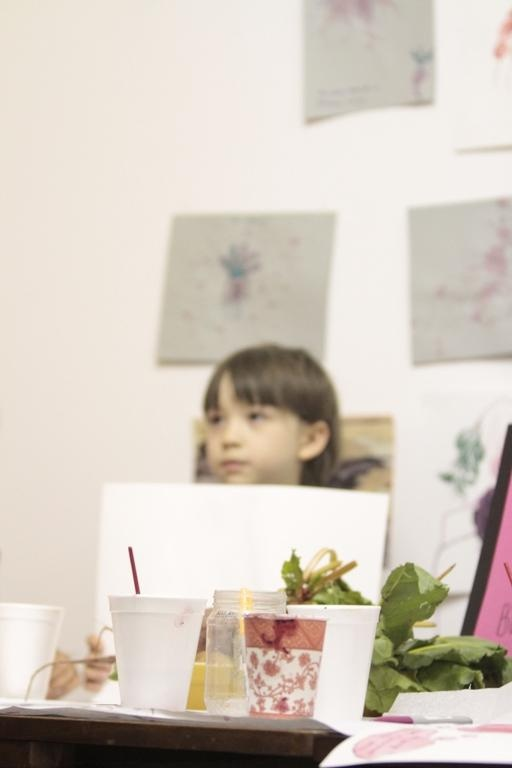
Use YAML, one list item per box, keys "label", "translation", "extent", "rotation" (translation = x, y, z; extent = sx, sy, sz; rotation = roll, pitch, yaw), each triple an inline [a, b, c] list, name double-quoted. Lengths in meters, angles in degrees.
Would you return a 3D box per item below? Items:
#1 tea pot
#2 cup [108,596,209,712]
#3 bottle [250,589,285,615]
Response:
- label: "tea pot"
  translation: [0.016, 0.177, 0.509]
  extent: [0.062, 0.056, 0.061]
  rotation: [1, -11, 0]
- label: "cup"
  translation: [-0.066, 0.174, 0.522]
  extent: [0.076, 0.071, 0.072]
  rotation: [1, -17, 0]
- label: "bottle"
  translation: [0.010, 0.150, 0.555]
  extent: [0.020, 0.012, 0.019]
  rotation: [0, -13, 0]
